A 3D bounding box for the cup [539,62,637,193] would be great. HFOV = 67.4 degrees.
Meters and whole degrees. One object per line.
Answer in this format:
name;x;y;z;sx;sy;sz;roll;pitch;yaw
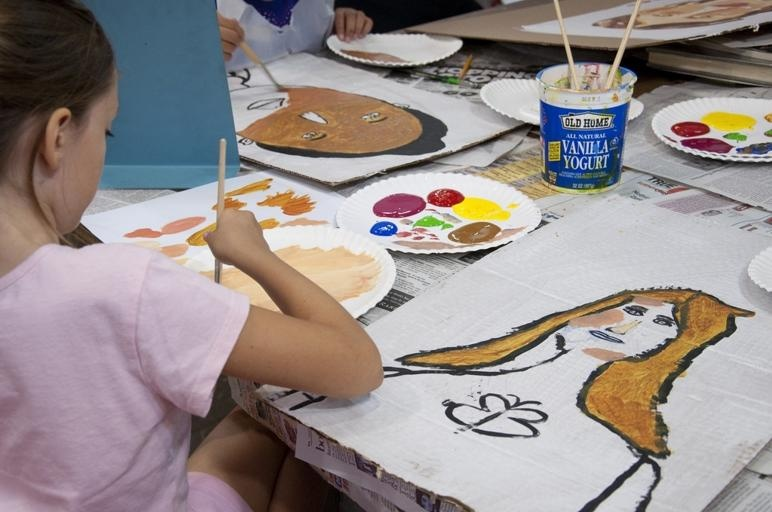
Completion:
cup;0.401;-0.227;1.049;0.175;0.204;0.142;-6;35;3
